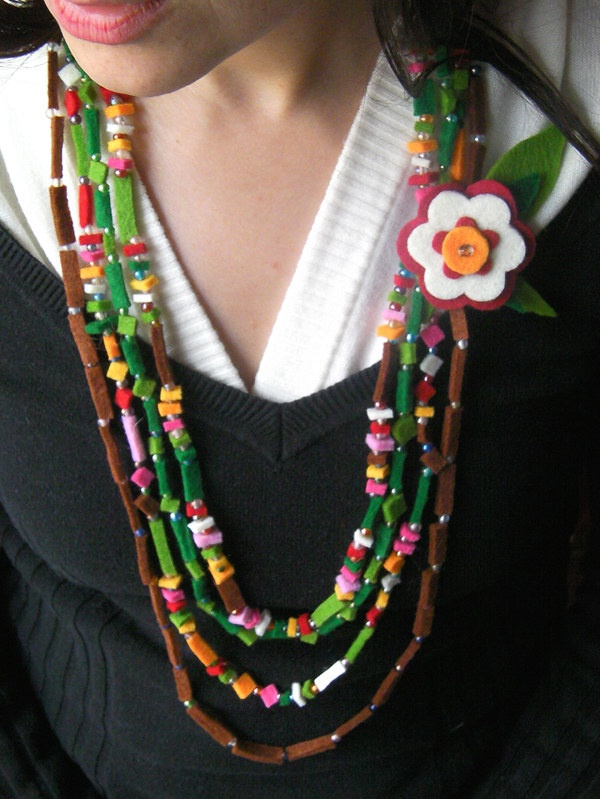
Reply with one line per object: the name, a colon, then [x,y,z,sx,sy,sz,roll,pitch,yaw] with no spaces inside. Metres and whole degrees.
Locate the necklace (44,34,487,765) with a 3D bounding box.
necklace: [-0.080,0.057,0.710,0.459,0.759,0.117,-1,0,-1]
